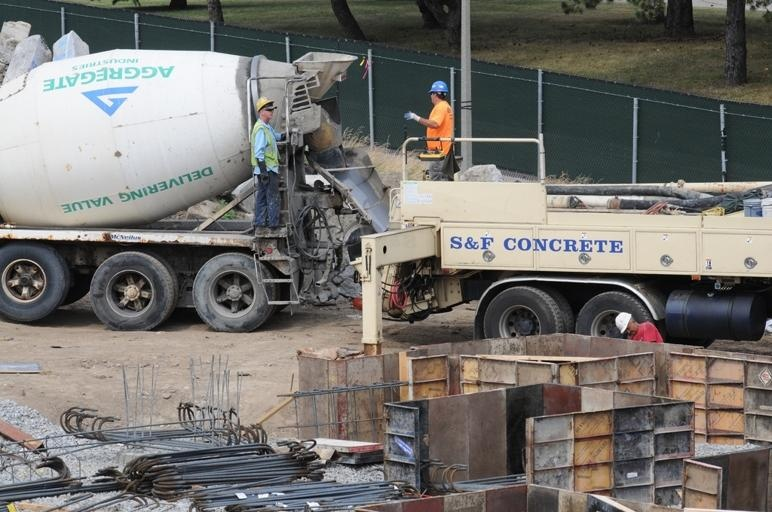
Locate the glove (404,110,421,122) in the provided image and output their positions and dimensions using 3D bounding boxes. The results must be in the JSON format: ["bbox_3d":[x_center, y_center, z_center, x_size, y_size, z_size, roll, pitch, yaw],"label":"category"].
[{"bbox_3d":[0.497,-2.738,32.678,0.247,0.202,0.758,-3,-2,4],"label":"glove"}]

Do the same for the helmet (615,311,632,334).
[{"bbox_3d":[4.307,1.164,30.884,0.191,0.278,0.364,16,-24,-2],"label":"helmet"}]

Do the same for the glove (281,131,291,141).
[{"bbox_3d":[-2.038,-2.399,33.719,0.173,0.152,0.280,6,-7,-1],"label":"glove"}]

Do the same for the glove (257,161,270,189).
[{"bbox_3d":[-2.437,-1.626,33.335,0.231,0.428,0.321,-2,5,-2],"label":"glove"}]

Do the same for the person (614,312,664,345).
[{"bbox_3d":[4.596,1.239,30.720,0.633,0.491,1.035,-2,1,-26],"label":"person"}]

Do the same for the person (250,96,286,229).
[{"bbox_3d":[-2.400,-1.859,33.391,0.521,2.427,0.567,-2,1,-3],"label":"person"}]

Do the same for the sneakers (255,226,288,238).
[{"bbox_3d":[-2.292,-0.479,33.719,0.704,0.283,0.234,2,-10,-1],"label":"sneakers"}]

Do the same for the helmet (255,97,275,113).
[{"bbox_3d":[-2.436,-2.986,33.273,0.243,0.154,0.325,-27,-3,-40],"label":"helmet"}]
